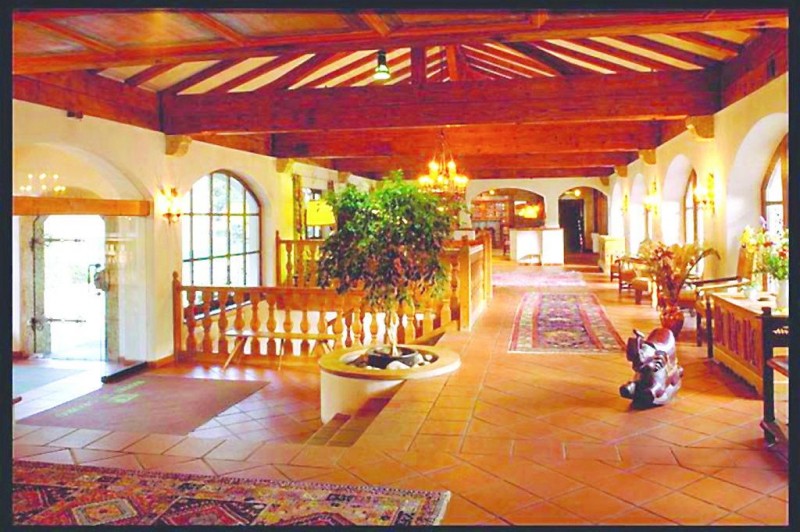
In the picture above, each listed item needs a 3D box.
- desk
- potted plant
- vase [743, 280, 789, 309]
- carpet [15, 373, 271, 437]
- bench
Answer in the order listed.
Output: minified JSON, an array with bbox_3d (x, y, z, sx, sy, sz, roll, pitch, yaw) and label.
[{"bbox_3d":[3.775,0.796,6.437,0.893,0.992,1.657,0,0,12],"label":"desk"},{"bbox_3d":[-0.033,-0.279,6.727,1.198,1.372,1.390,-9,3,-10],"label":"potted plant"},{"bbox_3d":[4.097,0.317,6.412,0.394,0.136,0.600,-2,10,7],"label":"vase"},{"bbox_3d":[-3.276,1.801,7.623,2.405,0.254,2.039,1,11,11],"label":"carpet"},{"bbox_3d":[-1.809,1.224,9.089,1.374,0.402,0.482,0,13,25],"label":"bench"}]
